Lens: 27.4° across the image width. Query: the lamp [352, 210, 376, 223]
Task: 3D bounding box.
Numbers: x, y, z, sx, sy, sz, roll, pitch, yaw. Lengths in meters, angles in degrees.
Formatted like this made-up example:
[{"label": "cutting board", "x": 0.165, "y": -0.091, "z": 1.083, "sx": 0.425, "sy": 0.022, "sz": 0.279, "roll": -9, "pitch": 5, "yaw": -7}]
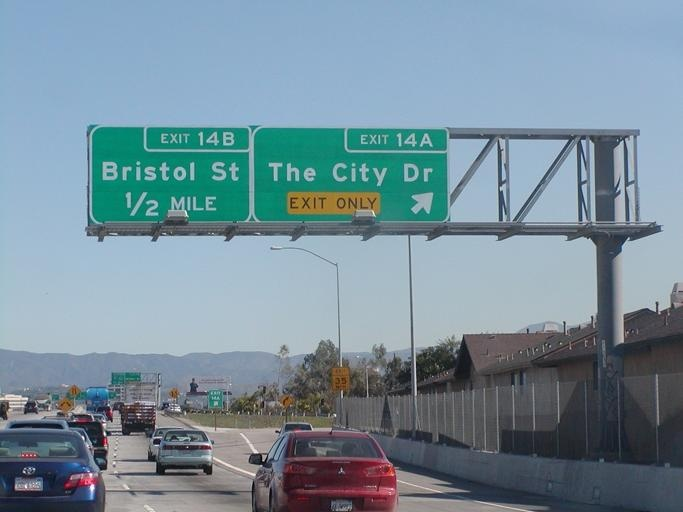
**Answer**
[{"label": "lamp", "x": 0.723, "y": -1.304, "z": 45.646, "sx": 0.746, "sy": 0.421, "sz": 0.520, "roll": 0, "pitch": -12, "yaw": -2}]
